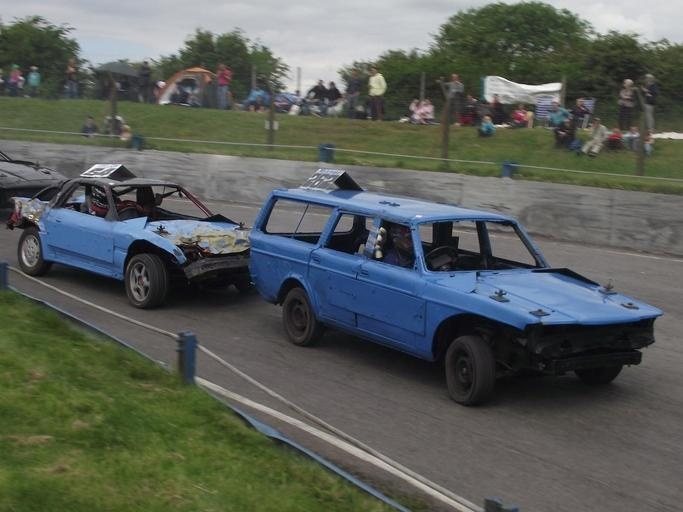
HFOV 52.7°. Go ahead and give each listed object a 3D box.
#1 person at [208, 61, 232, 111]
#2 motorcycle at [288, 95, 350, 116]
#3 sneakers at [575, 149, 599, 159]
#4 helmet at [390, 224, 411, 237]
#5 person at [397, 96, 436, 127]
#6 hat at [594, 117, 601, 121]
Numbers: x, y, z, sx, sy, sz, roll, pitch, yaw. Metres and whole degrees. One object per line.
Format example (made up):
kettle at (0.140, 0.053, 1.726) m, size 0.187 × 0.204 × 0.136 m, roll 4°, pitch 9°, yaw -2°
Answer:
person at (-3.765, -5.456, 22.148) m, size 0.507 × 1.431 × 1.075 m, roll 5°, pitch 14°, yaw -13°
motorcycle at (-0.772, -4.909, 22.285) m, size 1.623 × 0.650 × 0.843 m, roll 0°, pitch 7°, yaw 11°
sneakers at (6.017, -2.506, 16.985) m, size 0.601 × 0.176 × 0.171 m, roll 2°, pitch 7°, yaw 33°
helmet at (0.661, -0.288, 7.862) m, size 0.179 × 0.160 × 0.138 m, roll 38°, pitch 7°, yaw 16°
person at (2.242, -4.161, 19.688) m, size 0.410 × 0.738 × 1.345 m, roll 1°, pitch 12°, yaw -25°
hat at (6.327, -3.397, 17.063) m, size 0.225 × 0.082 × 0.130 m, roll 5°, pitch 10°, yaw 9°
